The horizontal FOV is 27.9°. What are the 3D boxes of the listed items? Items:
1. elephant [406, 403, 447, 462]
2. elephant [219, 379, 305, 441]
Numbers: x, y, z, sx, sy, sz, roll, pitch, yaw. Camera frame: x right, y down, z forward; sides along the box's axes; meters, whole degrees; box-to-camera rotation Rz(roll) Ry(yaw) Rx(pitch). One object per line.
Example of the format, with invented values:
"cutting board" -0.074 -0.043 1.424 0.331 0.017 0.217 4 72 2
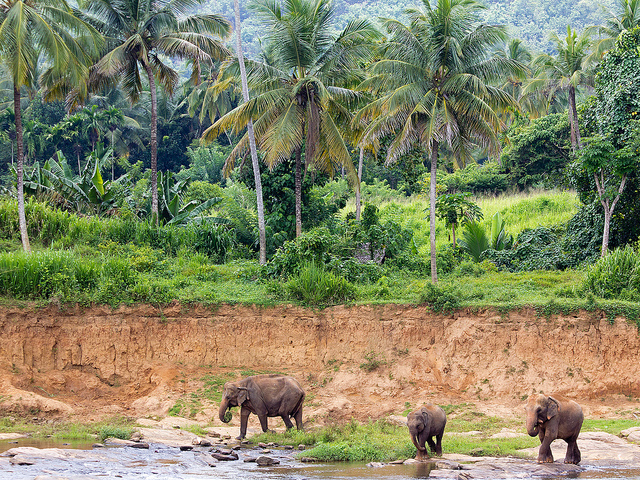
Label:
"elephant" 4.005 7.331 49.069 1.935 2.152 0.810 -1 2 -44
"elephant" -2.219 6.657 51.158 2.436 2.897 2.717 -3 -7 32
